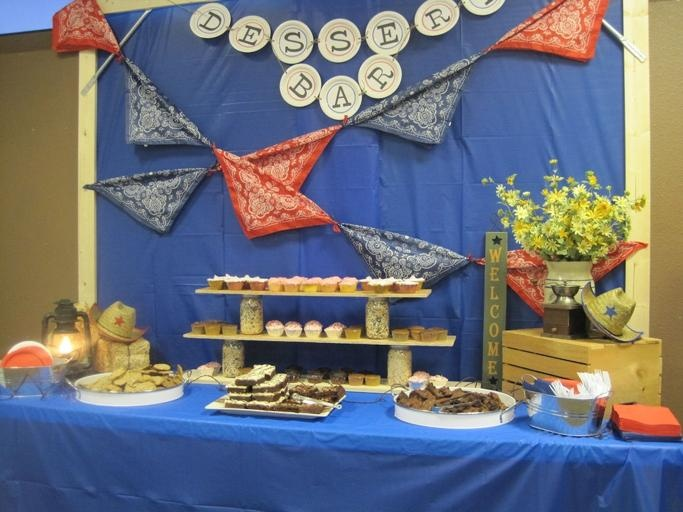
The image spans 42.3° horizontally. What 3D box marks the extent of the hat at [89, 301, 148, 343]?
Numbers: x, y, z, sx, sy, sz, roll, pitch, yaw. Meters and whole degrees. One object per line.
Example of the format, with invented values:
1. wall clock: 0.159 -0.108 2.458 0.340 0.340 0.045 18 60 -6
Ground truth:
1. hat: -1.326 0.386 5.209 0.308 0.238 0.371 -1 -2 -16

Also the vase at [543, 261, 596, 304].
1. vase: 1.163 0.135 4.580 0.224 0.244 0.228 0 -8 5

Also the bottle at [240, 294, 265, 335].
1. bottle: -0.534 0.321 4.991 0.140 0.228 0.135 0 -1 0

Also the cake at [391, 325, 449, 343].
1. cake: 0.420 0.424 4.868 0.303 0.079 0.211 -2 -2 6

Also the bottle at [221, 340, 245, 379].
1. bottle: -0.624 0.572 5.024 0.125 0.212 0.131 -1 0 0

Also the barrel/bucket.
1. barrel/bucket: 1.060 0.694 4.180 0.356 0.191 0.262 -3 -5 31

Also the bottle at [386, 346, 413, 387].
1. bottle: 0.310 0.590 4.857 0.138 0.242 0.141 1 7 0

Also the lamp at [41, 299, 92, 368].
1. lamp: -1.509 0.424 4.869 0.256 0.372 0.225 0 -4 -42

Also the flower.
1. flower: 1.207 -0.137 4.662 0.558 0.370 0.347 5 -7 25

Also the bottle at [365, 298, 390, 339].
1. bottle: 0.190 0.337 4.892 0.136 0.233 0.183 -2 -3 1
